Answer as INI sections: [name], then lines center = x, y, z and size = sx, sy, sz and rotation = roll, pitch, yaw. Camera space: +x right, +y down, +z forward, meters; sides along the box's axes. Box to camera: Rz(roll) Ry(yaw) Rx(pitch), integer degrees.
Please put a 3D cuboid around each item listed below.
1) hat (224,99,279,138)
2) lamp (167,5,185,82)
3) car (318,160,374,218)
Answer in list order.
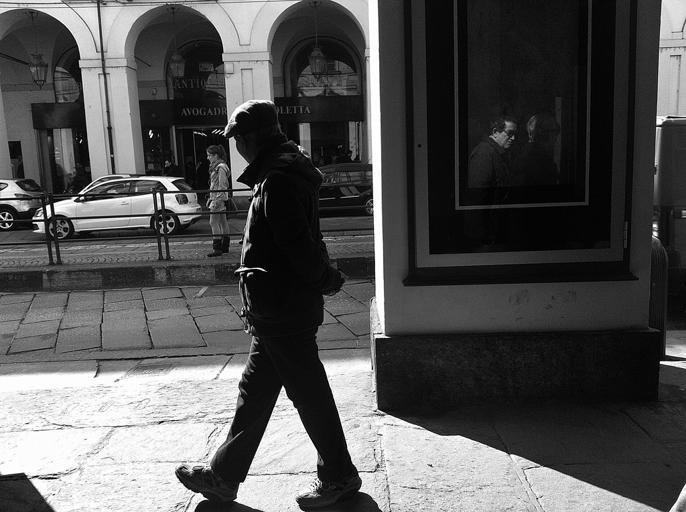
[hat]
center = -0.563, -0.852, 4.441
size = 0.284, 0.153, 0.216
rotation = 0, 26, 12
[lamp]
center = -5.692, -7.107, 24.723
size = 0.552, 2.081, 0.902
rotation = -6, 12, -10
[car]
center = -0.236, -1.542, 17.160
size = 1.929, 0.984, 1.028
rotation = 1, 7, -2
